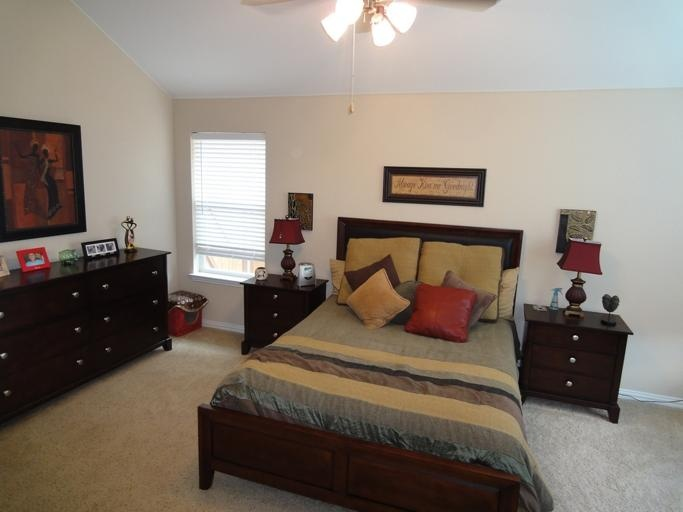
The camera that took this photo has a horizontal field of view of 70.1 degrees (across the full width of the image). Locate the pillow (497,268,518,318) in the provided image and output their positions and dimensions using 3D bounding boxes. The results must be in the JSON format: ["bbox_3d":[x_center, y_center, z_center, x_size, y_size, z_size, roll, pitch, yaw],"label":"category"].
[{"bbox_3d":[1.576,0.340,4.652,0.173,0.525,0.452,6,4,25],"label":"pillow"}]

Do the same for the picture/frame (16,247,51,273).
[{"bbox_3d":[-2.782,0.042,4.393,0.068,0.193,0.195,-17,-1,34],"label":"picture/frame"}]

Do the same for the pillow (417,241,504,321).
[{"bbox_3d":[1.242,0.318,4.972,0.727,0.737,0.268,3,-14,21],"label":"pillow"}]

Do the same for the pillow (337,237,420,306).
[{"bbox_3d":[0.527,0.251,5.187,0.694,0.732,0.216,0,-14,21],"label":"pillow"}]

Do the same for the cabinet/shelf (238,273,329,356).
[{"bbox_3d":[-0.668,0.428,5.484,1.048,1.038,0.707,3,7,23],"label":"cabinet/shelf"}]

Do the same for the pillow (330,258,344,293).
[{"bbox_3d":[-0.051,0.189,5.191,0.083,0.290,0.286,3,-4,-13],"label":"pillow"}]
